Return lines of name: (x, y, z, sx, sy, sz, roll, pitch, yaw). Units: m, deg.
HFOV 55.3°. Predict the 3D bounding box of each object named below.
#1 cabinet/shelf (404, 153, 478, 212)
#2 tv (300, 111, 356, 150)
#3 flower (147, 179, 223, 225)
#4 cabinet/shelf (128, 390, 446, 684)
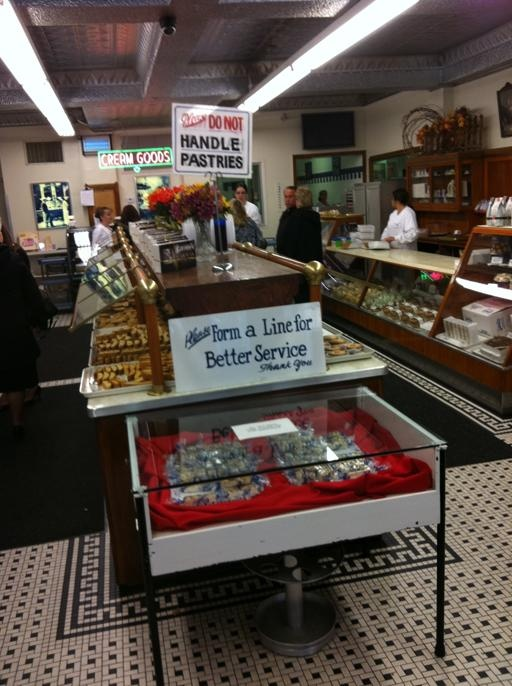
cabinet/shelf: (3.443, -2.962, 8.951, 0.487, 1.203, 1.530, -7, 8, -13)
tv: (1.761, -5.293, 12.092, 0.974, 0.629, 0.131, -1, 7, -6)
flower: (-0.324, -0.746, 2.594, 0.365, 0.192, 0.354, -11, 18, -27)
cabinet/shelf: (0.106, 0.667, 1.672, 0.966, 0.867, 0.560, -7, 8, -14)
